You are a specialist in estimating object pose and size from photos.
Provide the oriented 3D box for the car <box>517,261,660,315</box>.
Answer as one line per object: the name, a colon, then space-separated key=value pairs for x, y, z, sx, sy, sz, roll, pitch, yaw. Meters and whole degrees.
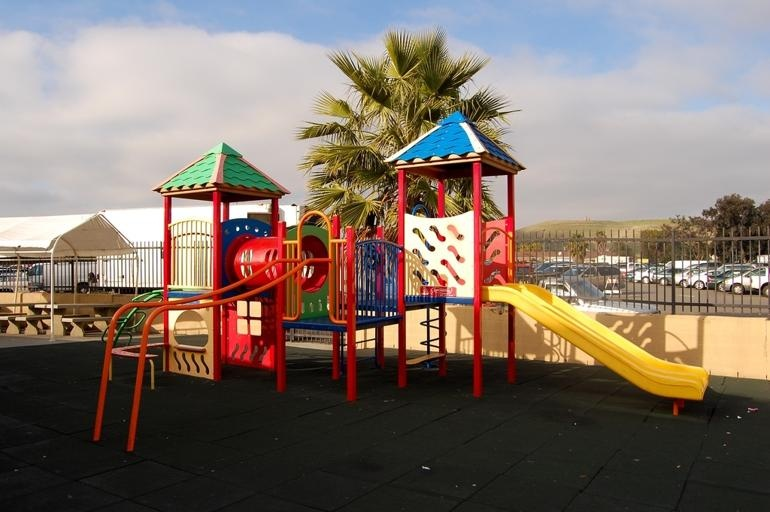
car: x=3.931 y=0.663 z=15.268 sx=2.141 sy=0.842 sz=1.025 roll=-2 pitch=2 yaw=17
